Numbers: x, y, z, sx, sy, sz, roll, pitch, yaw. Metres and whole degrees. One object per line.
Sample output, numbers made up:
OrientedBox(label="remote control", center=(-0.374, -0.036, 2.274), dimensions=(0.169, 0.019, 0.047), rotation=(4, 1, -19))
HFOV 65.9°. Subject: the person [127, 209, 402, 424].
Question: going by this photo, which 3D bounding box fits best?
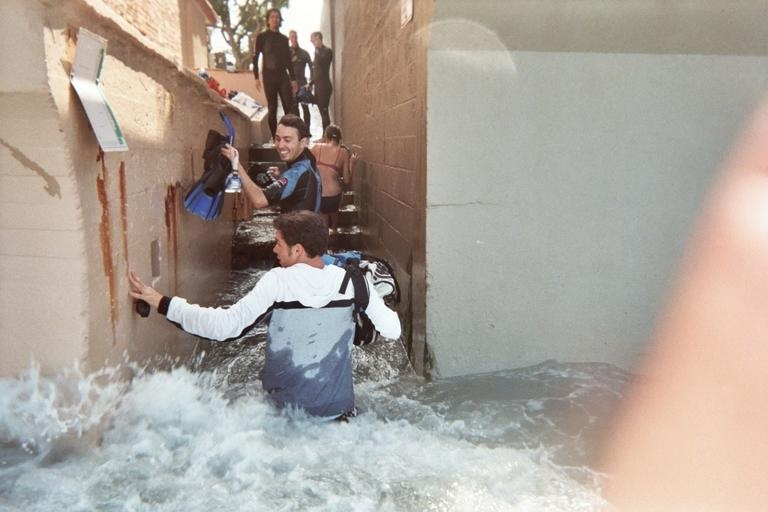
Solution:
OrientedBox(label="person", center=(-0.959, 0.530, 4.614), dimensions=(1.385, 1.806, 0.679), rotation=(-9, 37, -22))
